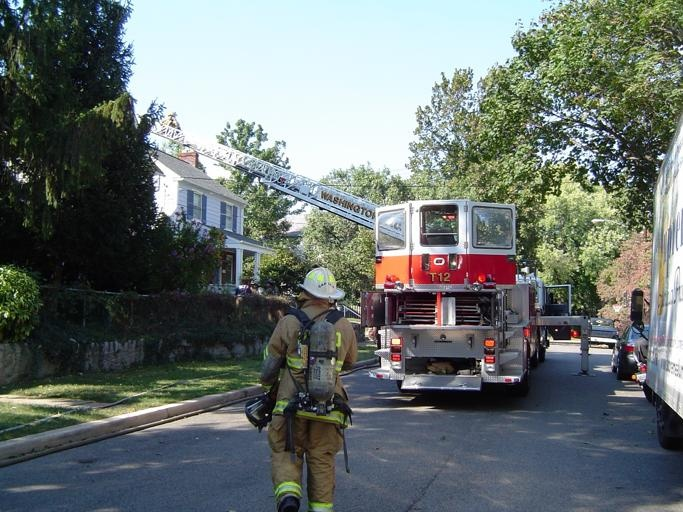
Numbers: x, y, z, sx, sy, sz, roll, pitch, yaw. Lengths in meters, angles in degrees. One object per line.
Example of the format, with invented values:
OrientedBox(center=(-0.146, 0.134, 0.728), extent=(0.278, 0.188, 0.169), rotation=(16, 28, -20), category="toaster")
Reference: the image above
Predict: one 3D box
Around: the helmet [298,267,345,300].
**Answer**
OrientedBox(center=(-0.253, 0.300, 6.926), extent=(0.311, 0.279, 0.423), rotation=(3, 1, -27), category="helmet")
